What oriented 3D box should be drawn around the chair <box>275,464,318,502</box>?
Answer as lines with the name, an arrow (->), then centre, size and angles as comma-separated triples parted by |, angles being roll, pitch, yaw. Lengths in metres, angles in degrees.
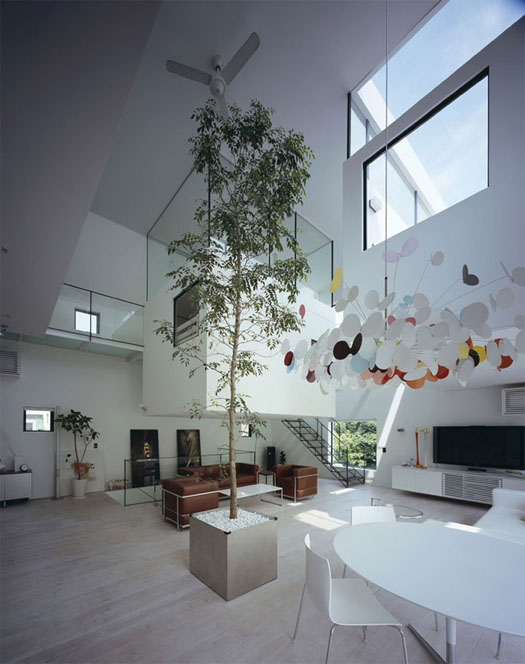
chair -> 0.662, 2.746, 8.630 | 0.539, 0.750, 0.698 | 9, -14, -36

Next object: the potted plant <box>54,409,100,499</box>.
potted plant -> -3.653, 2.340, 8.793 | 0.805, 1.709, 0.764 | 1, -7, -25

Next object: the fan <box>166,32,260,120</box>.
fan -> -0.359, -2.407, 3.907 | 0.684, 0.749, 0.366 | 13, -2, 7
